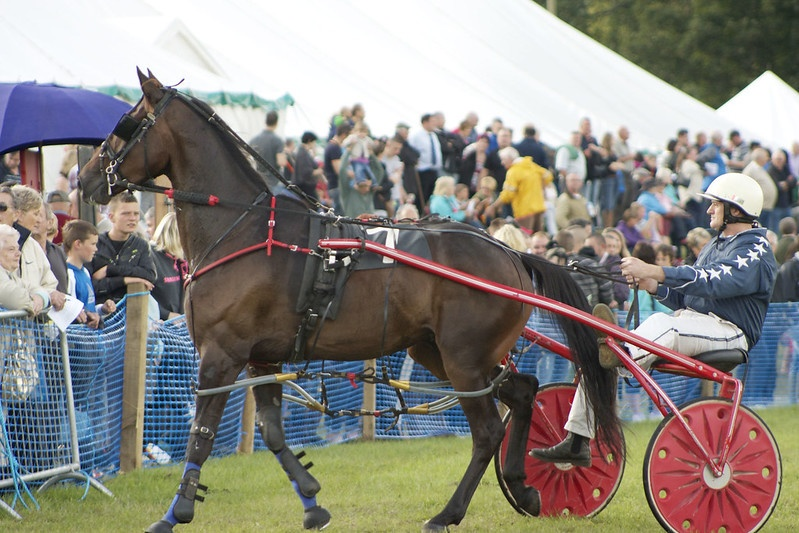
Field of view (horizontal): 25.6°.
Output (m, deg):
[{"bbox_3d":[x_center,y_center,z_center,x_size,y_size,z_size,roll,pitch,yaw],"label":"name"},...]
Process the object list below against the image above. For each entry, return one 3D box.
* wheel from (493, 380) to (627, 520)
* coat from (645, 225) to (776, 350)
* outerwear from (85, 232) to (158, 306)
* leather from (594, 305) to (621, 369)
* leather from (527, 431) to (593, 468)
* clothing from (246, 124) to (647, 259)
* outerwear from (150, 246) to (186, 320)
[{"bbox_3d":[2.242,2.549,23.777,1.957,1.768,0.219,3,-10,-30],"label":"wheel"},{"bbox_3d":[4.015,0.226,23.808,2.118,1.640,1.973,8,0,16],"label":"coat"},{"bbox_3d":[-4.058,0.093,25.610,1.234,1.334,0.927,-2,-1,-20],"label":"outerwear"},{"bbox_3d":[2.788,0.976,23.391,0.382,0.893,0.317,-27,27,-33],"label":"leather"},{"bbox_3d":[2.204,2.503,23.801,0.963,0.588,0.354,6,-9,6],"label":"leather"},{"bbox_3d":[0.560,-1.650,29.672,6.018,2.998,1.348,7,-9,-13],"label":"clothing"},{"bbox_3d":[-3.381,0.221,25.494,0.618,1.013,0.283,-10,-6,16],"label":"outerwear"}]
